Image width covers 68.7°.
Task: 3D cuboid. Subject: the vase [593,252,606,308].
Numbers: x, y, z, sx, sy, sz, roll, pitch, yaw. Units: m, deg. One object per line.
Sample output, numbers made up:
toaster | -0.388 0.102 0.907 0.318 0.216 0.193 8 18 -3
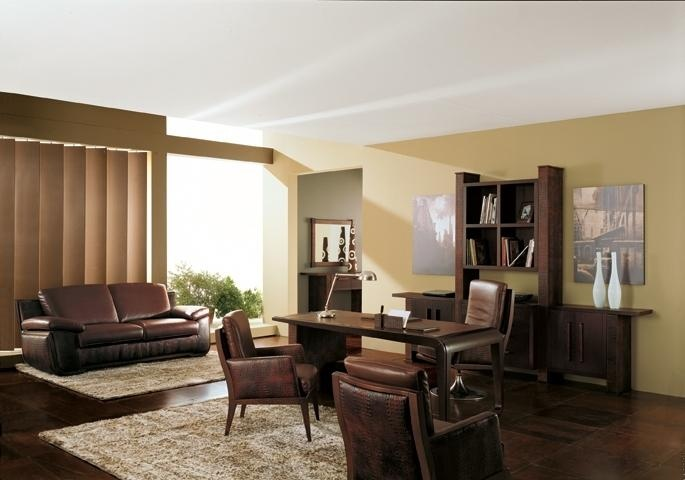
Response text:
vase | 3.156 0.485 6.170 0.138 0.668 0.324 2 3 29

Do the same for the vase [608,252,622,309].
vase | 3.289 0.481 6.083 0.155 0.695 0.380 2 3 29

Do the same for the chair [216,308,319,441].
chair | -0.704 1.252 4.934 1.049 1.030 0.995 -1 -2 26

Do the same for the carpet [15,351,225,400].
carpet | -2.613 1.759 6.886 1.927 0.077 2.125 8 -20 -1

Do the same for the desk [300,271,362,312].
desk | -0.280 0.924 9.141 0.940 0.860 0.353 1 1 -45

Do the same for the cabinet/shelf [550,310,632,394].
cabinet/shelf | 3.009 1.321 6.047 0.950 0.905 0.406 -2 -5 41

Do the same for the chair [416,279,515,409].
chair | 1.371 1.166 5.821 0.985 1.369 0.766 -1 6 -21

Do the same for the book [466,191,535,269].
book | 2.159 -0.147 6.842 0.322 0.987 1.062 3 -4 -40

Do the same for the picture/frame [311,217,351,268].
picture/frame | -0.225 0.097 9.937 1.055 0.921 0.054 8 -21 -42
